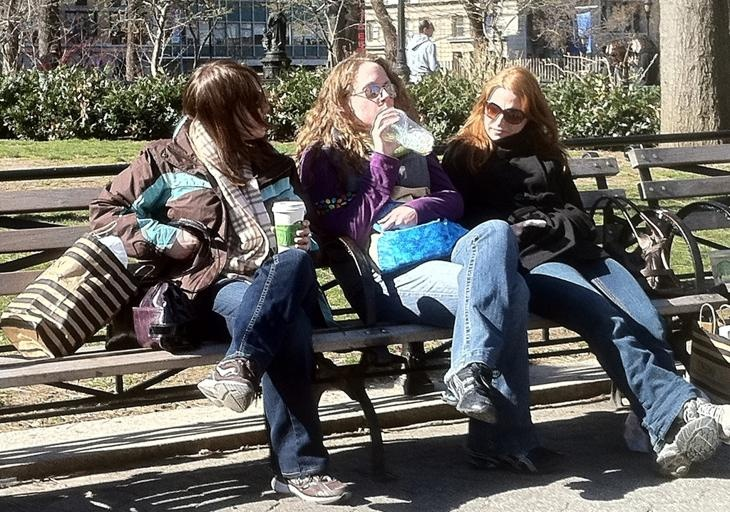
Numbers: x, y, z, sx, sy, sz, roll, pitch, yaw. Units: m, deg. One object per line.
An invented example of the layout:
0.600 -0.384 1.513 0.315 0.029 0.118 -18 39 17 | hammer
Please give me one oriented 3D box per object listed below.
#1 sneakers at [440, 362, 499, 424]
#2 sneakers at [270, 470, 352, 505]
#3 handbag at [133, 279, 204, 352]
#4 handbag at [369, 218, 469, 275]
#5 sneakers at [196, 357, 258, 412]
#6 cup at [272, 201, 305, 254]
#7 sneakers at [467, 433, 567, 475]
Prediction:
0.476 0.615 3.076 0.240 0.230 0.241 0 13 5 | sneakers
-0.271 1.064 3.207 0.385 0.157 0.146 -1 -6 26 | sneakers
-0.935 0.293 3.216 0.255 0.344 0.354 -4 -7 44 | handbag
0.282 -0.066 3.771 0.393 0.144 0.325 -13 1 -33 | handbag
-0.630 0.573 3.094 0.175 0.145 0.353 -46 26 -21 | sneakers
-0.365 -0.147 3.281 0.144 0.238 0.260 -2 13 -7 | cup
0.777 1.034 3.526 0.492 0.201 0.170 -4 4 6 | sneakers
